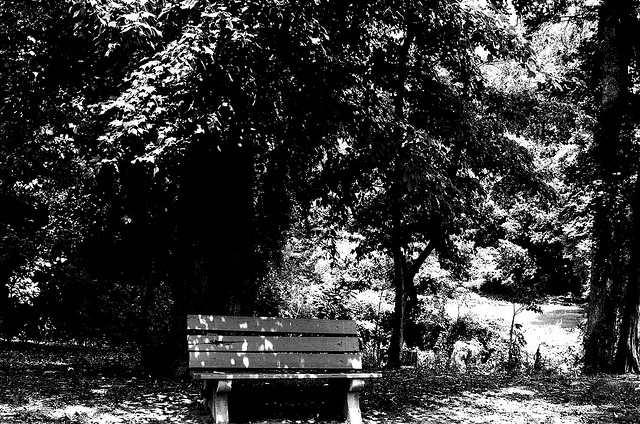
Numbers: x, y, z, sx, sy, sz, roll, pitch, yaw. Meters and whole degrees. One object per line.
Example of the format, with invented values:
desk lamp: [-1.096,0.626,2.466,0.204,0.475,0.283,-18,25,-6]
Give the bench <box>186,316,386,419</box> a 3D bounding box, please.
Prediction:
bench: [-0.941,3.195,15.478,3.780,2.130,2.704,6,-14,-18]
